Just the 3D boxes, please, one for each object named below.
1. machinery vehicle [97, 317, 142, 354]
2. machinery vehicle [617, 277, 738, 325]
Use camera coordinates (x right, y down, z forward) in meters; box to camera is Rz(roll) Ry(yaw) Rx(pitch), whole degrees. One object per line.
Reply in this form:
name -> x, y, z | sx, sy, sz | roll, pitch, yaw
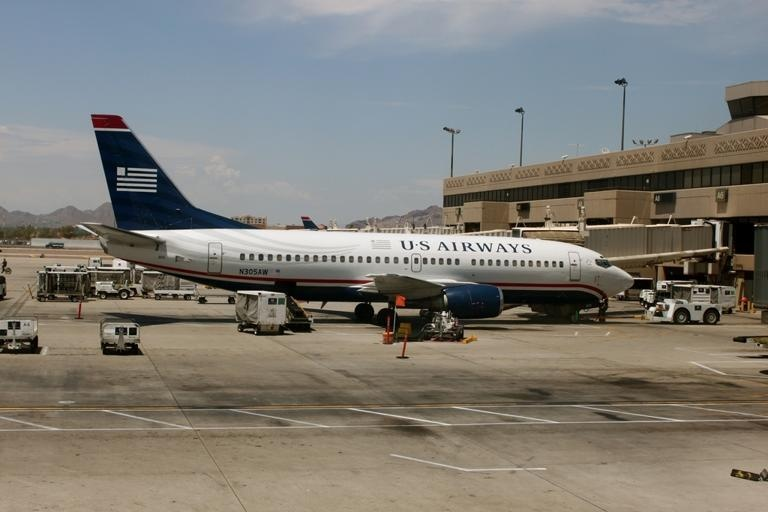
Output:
machinery vehicle -> -11.130, 3.368, 34.651 | 1.712, 0.683, 1.846 | 1, 1, -14
machinery vehicle -> 19.505, 2.882, 52.437 | 5.929, 2.958, 8.550 | 7, 12, 18
